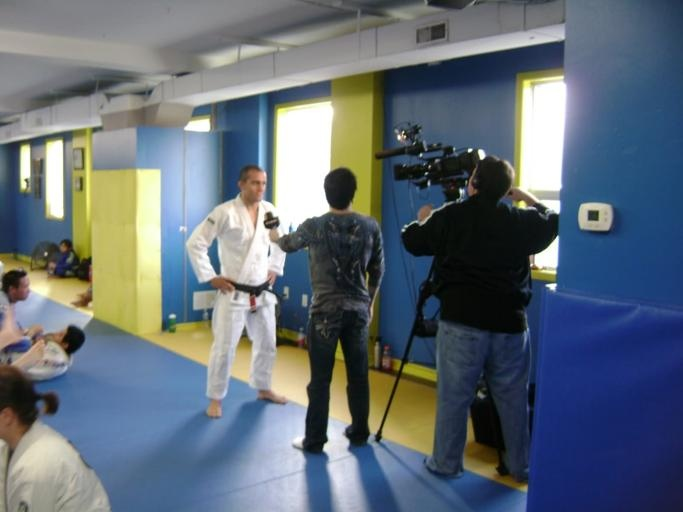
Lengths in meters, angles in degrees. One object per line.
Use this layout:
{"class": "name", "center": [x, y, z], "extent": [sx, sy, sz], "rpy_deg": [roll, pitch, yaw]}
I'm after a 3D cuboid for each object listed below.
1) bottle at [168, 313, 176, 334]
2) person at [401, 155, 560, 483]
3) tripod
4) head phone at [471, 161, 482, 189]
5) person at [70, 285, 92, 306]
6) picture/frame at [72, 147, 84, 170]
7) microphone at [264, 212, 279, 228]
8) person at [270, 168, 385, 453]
{"class": "bottle", "center": [-2.081, 0.795, 6.925], "extent": [0.109, 0.215, 0.200], "rpy_deg": [-2, 8, -18]}
{"class": "person", "center": [0.824, 0.391, 3.428], "extent": [0.789, 1.945, 0.329], "rpy_deg": [0, 8, -5]}
{"class": "tripod", "center": [0.508, 0.546, 3.891], "extent": [0.300, 2.087, 0.285], "rpy_deg": [11, -3, -25]}
{"class": "head phone", "center": [0.787, -0.481, 3.331], "extent": [0.092, 0.134, 0.115], "rpy_deg": [4, 1, 18]}
{"class": "person", "center": [-3.867, 0.578, 8.384], "extent": [0.260, 0.253, 0.801], "rpy_deg": [-3, 9, -26]}
{"class": "picture/frame", "center": [-5.014, -1.858, 10.746], "extent": [0.071, 0.559, 0.458], "rpy_deg": [1, -1, -39]}
{"class": "microphone", "center": [-0.474, -0.245, 3.826], "extent": [0.091, 0.105, 0.104], "rpy_deg": [-1, -3, 3]}
{"class": "person", "center": [-0.044, 0.367, 3.807], "extent": [0.656, 1.896, 0.313], "rpy_deg": [0, 8, -3]}
